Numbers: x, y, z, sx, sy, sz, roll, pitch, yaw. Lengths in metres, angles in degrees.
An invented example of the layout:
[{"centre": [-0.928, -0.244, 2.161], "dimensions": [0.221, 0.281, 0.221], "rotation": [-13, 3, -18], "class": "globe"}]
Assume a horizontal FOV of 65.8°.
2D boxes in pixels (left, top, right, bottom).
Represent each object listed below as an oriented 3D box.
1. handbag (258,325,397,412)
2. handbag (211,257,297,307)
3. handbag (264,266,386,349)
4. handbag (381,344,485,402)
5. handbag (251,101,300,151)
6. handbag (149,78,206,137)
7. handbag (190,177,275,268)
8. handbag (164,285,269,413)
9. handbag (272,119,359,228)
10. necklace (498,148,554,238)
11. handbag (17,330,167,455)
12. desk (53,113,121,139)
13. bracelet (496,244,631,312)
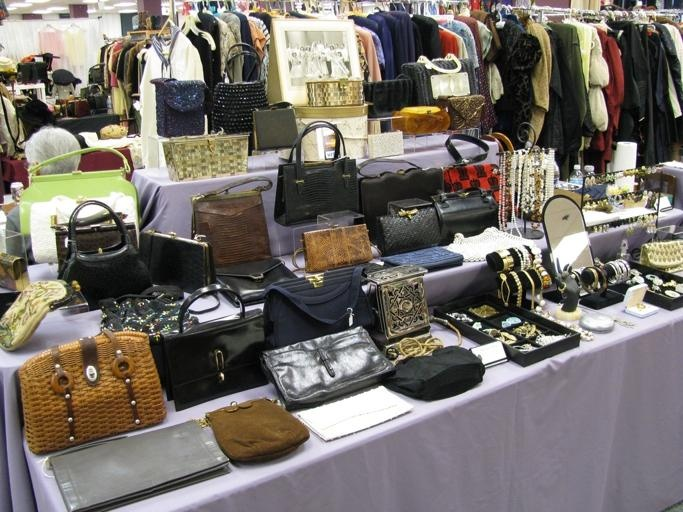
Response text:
[{"centre": [-0.049, 0.420, 2.056], "dimensions": [0.408, 0.118, 0.270], "rotation": [-12, 49, -23], "class": "handbag"}, {"centre": [-0.391, 0.096, 2.416], "dimensions": [0.225, 0.060, 0.236], "rotation": [-10, 27, -23], "class": "handbag"}, {"centre": [-0.105, 0.223, 2.182], "dimensions": [0.473, 0.321, 0.266], "rotation": [-11, 9, -25], "class": "handbag"}, {"centre": [0.363, 0.418, 2.059], "dimensions": [0.264, 0.107, 0.211], "rotation": [-11, 12, -24], "class": "handbag"}, {"centre": [-0.359, -0.704, 2.872], "dimensions": [0.264, 0.284, 0.114], "rotation": [-12, 20, -16], "class": "handbag"}, {"centre": [-0.846, -0.782, 2.782], "dimensions": [0.272, 0.298, 0.157], "rotation": [-9, 13, -12], "class": "handbag"}, {"centre": [-0.536, -0.156, 2.531], "dimensions": [0.362, 0.371, 0.159], "rotation": [-12, 8, -31], "class": "handbag"}, {"centre": [-0.479, 0.372, 2.016], "dimensions": [0.314, 0.372, 0.121], "rotation": [-22, 21, -30], "class": "handbag"}, {"centre": [-0.136, -0.413, 2.721], "dimensions": [0.457, 0.563, 0.174], "rotation": [-9, 19, -26], "class": "handbag"}, {"centre": [1.043, -0.360, 2.980], "dimensions": [0.293, 0.483, 0.452], "rotation": [0, 14, 24], "class": "necklace"}, {"centre": [-0.830, 0.465, 1.751], "dimensions": [0.321, 0.262, 0.149], "rotation": [-16, 3, -27], "class": "handbag"}, {"centre": [-3.091, -1.628, 6.492], "dimensions": [0.725, 0.429, 0.481], "rotation": [-11, 15, -41], "class": "desk"}, {"centre": [1.032, 0.098, 2.584], "dimensions": [0.443, 0.190, 0.400], "rotation": [-17, 28, -34], "class": "bracelet"}]
